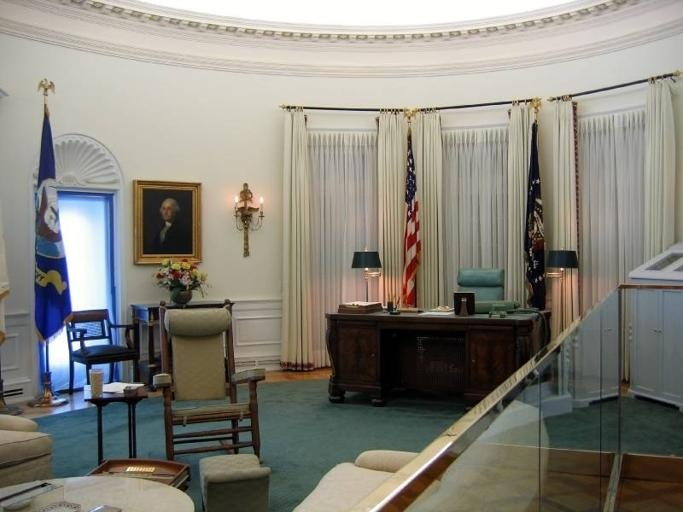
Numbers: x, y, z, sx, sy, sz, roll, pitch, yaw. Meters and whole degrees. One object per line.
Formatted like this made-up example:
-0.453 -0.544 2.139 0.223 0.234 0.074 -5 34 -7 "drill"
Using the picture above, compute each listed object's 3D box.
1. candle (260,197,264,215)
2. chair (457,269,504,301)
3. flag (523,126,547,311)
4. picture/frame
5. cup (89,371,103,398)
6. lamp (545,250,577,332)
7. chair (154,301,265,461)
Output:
-1.204 -0.742 8.293 0.048 0.290 0.108 -4 7 9 "candle"
1.820 0.348 7.140 0.416 0.501 0.450 -1 -7 18 "chair"
2.706 -0.571 7.795 0.271 2.591 0.562 -3 8 18 "flag"
-2.464 -0.488 7.784 0.997 1.255 0.267 -8 8 -15 "picture/frame"
-2.096 1.066 4.695 0.106 0.229 0.210 -9 8 -27 "cup"
3.064 0.437 7.593 0.407 1.116 0.634 -3 8 20 "lamp"
-1.255 1.113 4.962 0.873 1.527 0.997 1 -11 -29 "chair"
